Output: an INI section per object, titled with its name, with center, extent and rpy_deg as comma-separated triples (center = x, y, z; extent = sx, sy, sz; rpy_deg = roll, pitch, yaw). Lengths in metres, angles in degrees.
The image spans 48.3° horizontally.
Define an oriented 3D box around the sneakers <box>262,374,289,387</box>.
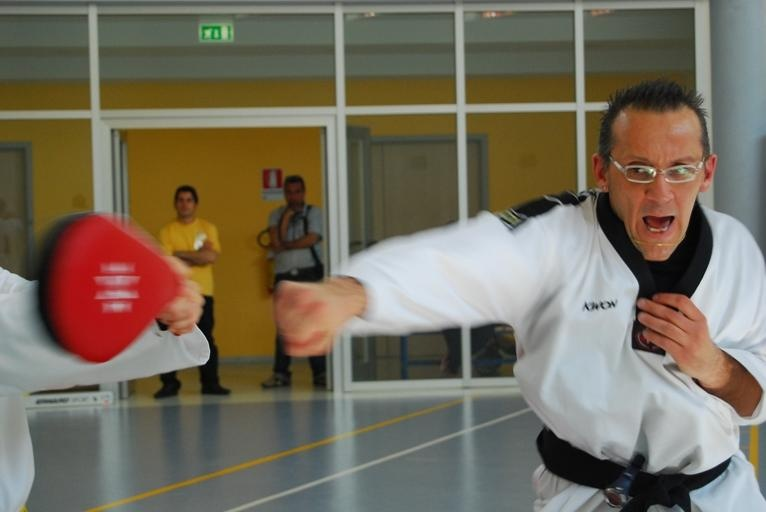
[sneakers]
center = -1.189, 1.409, 9.596
extent = 0.373, 0.161, 0.127
rpy_deg = 2, -4, 2
